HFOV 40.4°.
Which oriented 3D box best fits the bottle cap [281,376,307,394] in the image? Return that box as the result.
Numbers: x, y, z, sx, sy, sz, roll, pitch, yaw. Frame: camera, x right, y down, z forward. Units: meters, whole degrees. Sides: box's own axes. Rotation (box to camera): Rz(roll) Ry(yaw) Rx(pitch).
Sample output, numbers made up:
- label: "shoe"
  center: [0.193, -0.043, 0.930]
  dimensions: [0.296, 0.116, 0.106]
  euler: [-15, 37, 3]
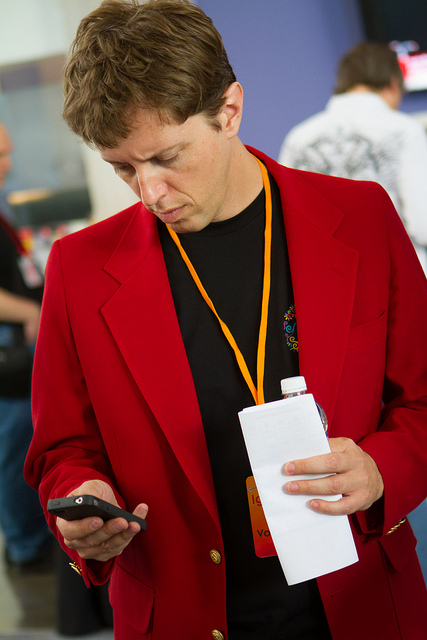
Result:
- label: "bottle cap"
  center: [0.104, 0.085, 0.755]
  dimensions: [0.025, 0.015, 0.025]
  euler: [-11, 0, -44]

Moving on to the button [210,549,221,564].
- label: "button"
  center: [0.004, 0.375, 0.918]
  dimensions: [0.005, 0.018, 0.018]
  euler: [-18, 20, -38]

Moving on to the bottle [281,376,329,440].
- label: "bottle"
  center: [0.123, 0.118, 0.782]
  dimensions: [0.042, 0.110, 0.032]
  euler: [-19, 27, 5]
